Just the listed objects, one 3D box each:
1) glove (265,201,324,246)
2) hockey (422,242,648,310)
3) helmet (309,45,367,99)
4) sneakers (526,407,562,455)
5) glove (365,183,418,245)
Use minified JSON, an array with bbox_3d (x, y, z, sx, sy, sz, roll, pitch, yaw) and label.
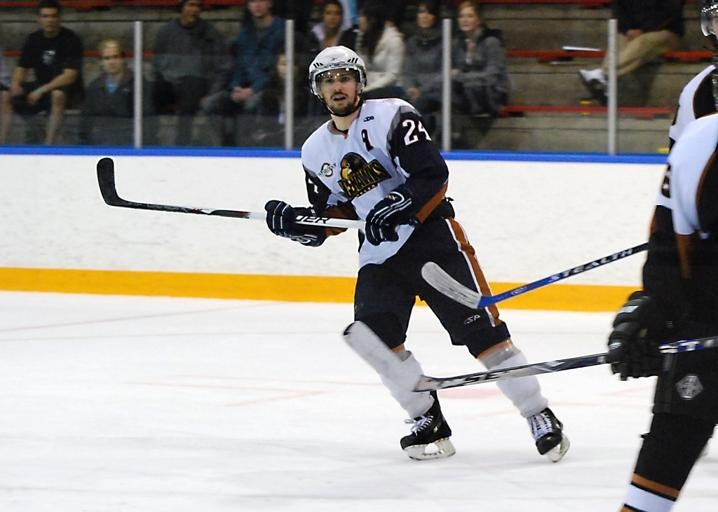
[{"bbox_3d":[-0.256,-0.128,4.171,0.241,0.092,0.178,23,26,15],"label":"glove"},{"bbox_3d":[0.912,0.100,5.125,1.306,0.112,0.348,-6,41,14],"label":"hockey"},{"bbox_3d":[-0.085,-0.735,4.029,0.226,0.183,0.231,-6,-10,2],"label":"helmet"},{"bbox_3d":[0.688,0.660,3.871,0.122,0.165,0.140,-1,13,2],"label":"sneakers"},{"bbox_3d":[0.108,-0.153,3.795,0.092,0.252,0.140,29,33,-53],"label":"glove"}]
